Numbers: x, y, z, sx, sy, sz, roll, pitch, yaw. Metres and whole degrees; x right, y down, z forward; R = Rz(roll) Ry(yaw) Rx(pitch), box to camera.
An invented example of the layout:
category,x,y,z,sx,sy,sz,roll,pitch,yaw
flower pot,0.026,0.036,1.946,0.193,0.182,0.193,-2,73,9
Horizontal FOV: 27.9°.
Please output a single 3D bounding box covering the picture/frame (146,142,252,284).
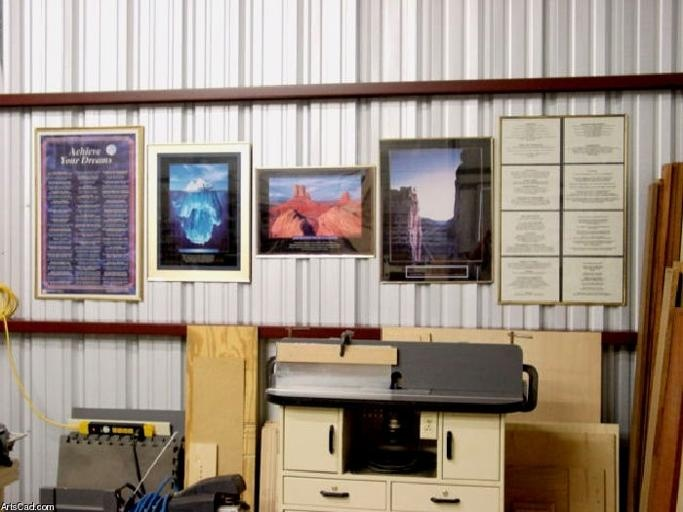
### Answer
category,x,y,z,sx,sy,sz,roll,pitch,yaw
picture/frame,-1.012,-0.334,10.172,0.718,1.316,0.042,0,2,6
